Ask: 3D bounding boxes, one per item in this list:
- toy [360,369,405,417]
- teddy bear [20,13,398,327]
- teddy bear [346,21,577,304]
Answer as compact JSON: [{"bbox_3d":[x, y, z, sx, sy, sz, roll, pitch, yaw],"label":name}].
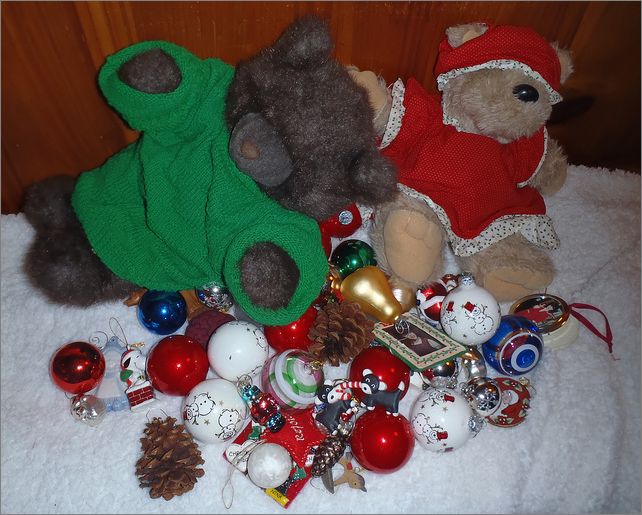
[{"bbox_3d":[0.136,0.306,1.369,0.077,0.035,0.078,19,78,-3],"label":"toy"},{"bbox_3d":[-0.283,-0.154,1.445,0.767,0.428,0.700,-22,98,19],"label":"teddy bear"},{"bbox_3d":[0.386,-0.258,1.531,0.583,0.632,0.477,3,48,-8],"label":"teddy bear"}]
